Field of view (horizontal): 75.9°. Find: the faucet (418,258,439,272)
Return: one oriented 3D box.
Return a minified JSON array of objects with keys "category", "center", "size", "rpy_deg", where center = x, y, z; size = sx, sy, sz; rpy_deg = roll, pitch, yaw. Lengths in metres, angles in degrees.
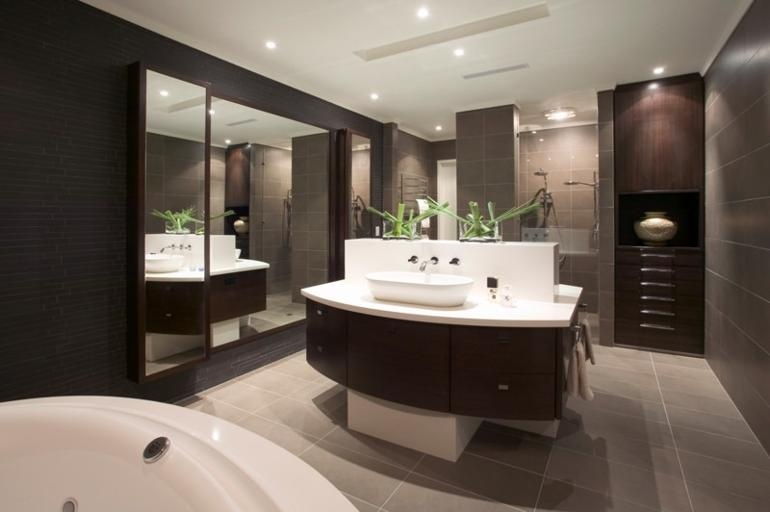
[{"category":"faucet","center":[0.368,0.073,4.155],"size":[0.080,0.078,0.190],"rpy_deg":[0,1,37]}]

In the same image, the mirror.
[{"category":"mirror","center":[-1.322,-0.290,4.756],"size":[0.257,2.532,3.129],"rpy_deg":[5,8,35]}]

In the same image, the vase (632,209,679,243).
[{"category":"vase","center":[3.063,-0.312,5.618],"size":[0.386,0.343,0.374],"rpy_deg":[7,-2,-31]}]
